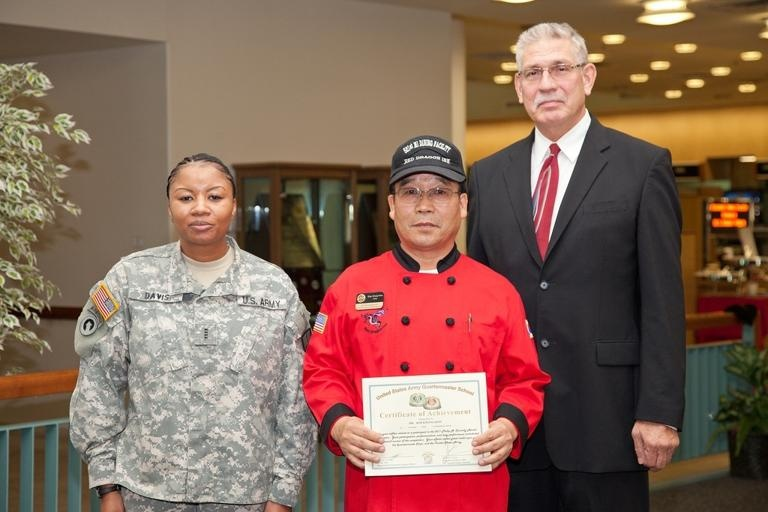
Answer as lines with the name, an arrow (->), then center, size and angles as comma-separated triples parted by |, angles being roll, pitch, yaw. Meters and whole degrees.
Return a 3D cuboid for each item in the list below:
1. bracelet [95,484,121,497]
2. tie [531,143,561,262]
bracelet -> -1.199, 1.015, 3.081 | 0.088, 0.056, 0.087 | -3, -5, -25
tie -> 0.768, -0.266, 3.328 | 0.100, 0.603, 0.046 | 5, -24, 22
